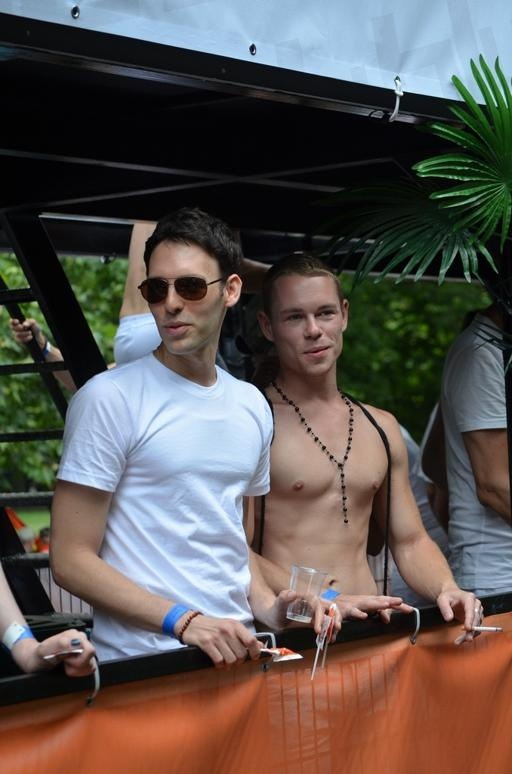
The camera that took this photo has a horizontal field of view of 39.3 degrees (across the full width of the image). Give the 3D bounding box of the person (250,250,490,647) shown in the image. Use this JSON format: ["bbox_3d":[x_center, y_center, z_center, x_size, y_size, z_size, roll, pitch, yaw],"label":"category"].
[{"bbox_3d":[0.300,0.251,2.671,0.725,1.352,1.275,-8,22,0],"label":"person"}]

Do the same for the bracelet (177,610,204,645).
[{"bbox_3d":[-0.145,0.549,1.630,0.018,0.055,0.066,-2,62,48],"label":"bracelet"}]

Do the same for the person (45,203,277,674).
[{"bbox_3d":[-0.255,0.168,1.874,0.519,1.126,0.858,-5,22,7],"label":"person"}]

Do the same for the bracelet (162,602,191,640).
[{"bbox_3d":[-0.188,0.536,1.640,0.033,0.056,0.071,25,56,-8],"label":"bracelet"}]

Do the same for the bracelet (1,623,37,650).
[{"bbox_3d":[-0.504,0.534,1.553,0.057,0.062,0.057,-46,63,-3],"label":"bracelet"}]

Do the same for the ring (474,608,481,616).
[{"bbox_3d":[0.698,0.709,2.249,0.011,0.027,0.028,-4,18,12],"label":"ring"}]
